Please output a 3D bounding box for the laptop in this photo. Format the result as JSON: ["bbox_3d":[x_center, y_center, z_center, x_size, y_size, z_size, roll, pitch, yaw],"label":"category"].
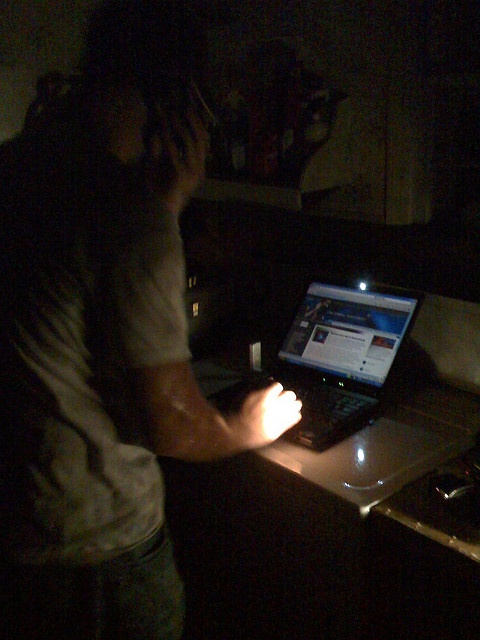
[{"bbox_3d":[0.170,0.059,0.974,0.255,0.247,0.251,2,10,-37],"label":"laptop"}]
